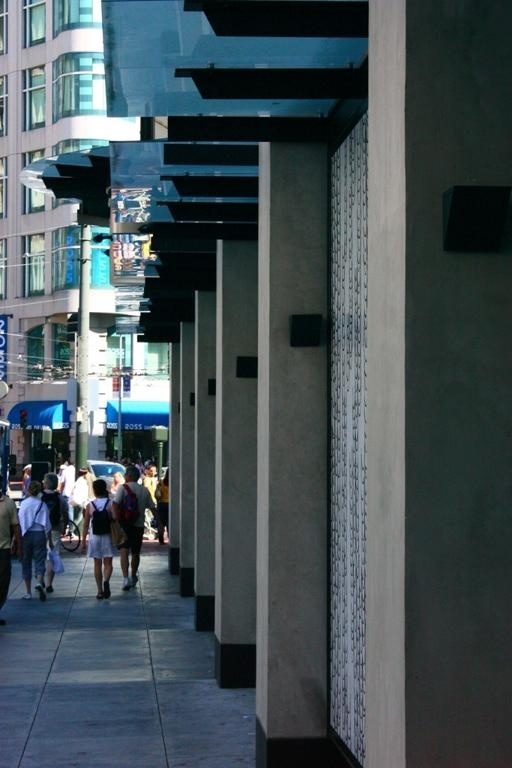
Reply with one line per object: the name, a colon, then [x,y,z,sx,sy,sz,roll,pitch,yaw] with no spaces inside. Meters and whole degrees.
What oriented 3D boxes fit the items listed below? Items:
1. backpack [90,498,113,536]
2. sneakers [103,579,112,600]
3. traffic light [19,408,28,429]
backpack: [-2.690,2.336,14.657,0.414,1.072,0.428,0,-4,0]
sneakers: [-2.622,3.605,14.522,0.087,0.401,0.128,0,-7,13]
traffic light: [-9.490,1.468,33.895,0.207,0.813,2.765,0,3,-14]
